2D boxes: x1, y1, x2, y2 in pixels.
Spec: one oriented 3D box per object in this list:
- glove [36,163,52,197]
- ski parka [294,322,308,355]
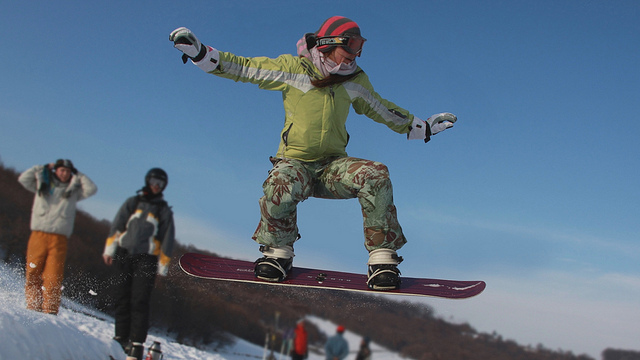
[{"bbox_3d":[-8.705,-0.148,21.571,0.418,0.265,1.108,1,-48,-21],"label":"glove"},{"bbox_3d":[-0.855,6.658,28.538,0.508,1.109,0.628,18,-13,-25],"label":"ski parka"}]
